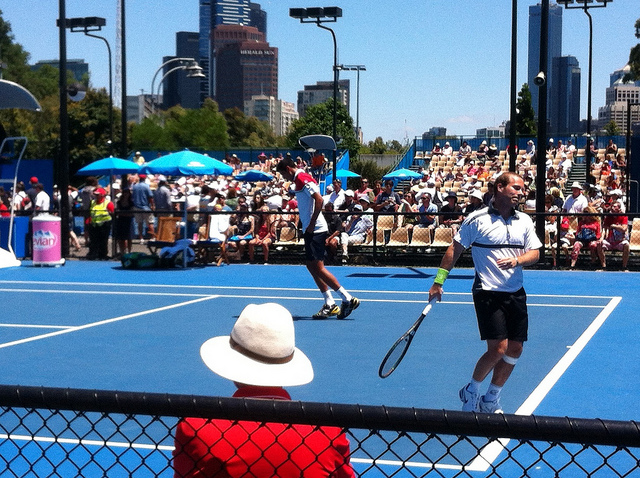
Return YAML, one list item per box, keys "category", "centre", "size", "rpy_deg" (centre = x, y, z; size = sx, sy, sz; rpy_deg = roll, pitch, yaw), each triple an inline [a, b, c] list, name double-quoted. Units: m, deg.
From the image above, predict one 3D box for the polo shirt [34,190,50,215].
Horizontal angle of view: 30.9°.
- category: "polo shirt"
  centre: [-7.108, -0.937, 29.630]
  size: [0.247, 0.837, 0.615]
  rpy_deg: [2, 1, 19]

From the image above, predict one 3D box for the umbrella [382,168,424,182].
- category: "umbrella"
  centre: [2.974, -2.392, 42.316]
  size: [1.007, 0.548, 1.164]
  rpy_deg: [3, 3, 10]

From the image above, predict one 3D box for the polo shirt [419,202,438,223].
- category: "polo shirt"
  centre: [2.535, -0.634, 27.382]
  size: [0.360, 0.269, 0.480]
  rpy_deg: [-4, 36, 4]

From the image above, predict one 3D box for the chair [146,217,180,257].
- category: "chair"
  centre: [-3.645, -0.178, 26.996]
  size: [0.818, 0.722, 0.642]
  rpy_deg: [1, 6, 9]

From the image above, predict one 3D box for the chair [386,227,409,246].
- category: "chair"
  centre: [1.844, -0.064, 27.164]
  size: [0.402, 0.347, 0.375]
  rpy_deg: [0, 3, 8]

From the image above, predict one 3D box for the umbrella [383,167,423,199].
- category: "umbrella"
  centre: [3.042, -2.350, 42.293]
  size: [1.210, 1.042, 1.338]
  rpy_deg: [-1, 12, 3]

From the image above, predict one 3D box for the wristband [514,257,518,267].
- category: "wristband"
  centre: [2.521, 0.274, 14.983]
  size: [0.026, 0.074, 0.060]
  rpy_deg: [0, -8, -4]

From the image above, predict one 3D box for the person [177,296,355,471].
- category: "person"
  centre: [-0.605, 1.488, 11.665]
  size: [1.669, 1.649, 0.533]
  rpy_deg: [-1, 6, -11]

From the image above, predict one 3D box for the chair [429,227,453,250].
- category: "chair"
  centre: [2.789, -0.062, 26.991]
  size: [0.507, 0.617, 0.456]
  rpy_deg: [3, 1, 11]
